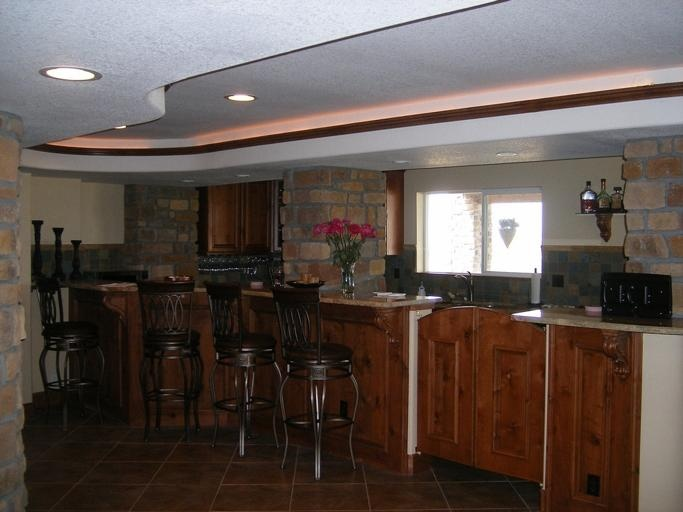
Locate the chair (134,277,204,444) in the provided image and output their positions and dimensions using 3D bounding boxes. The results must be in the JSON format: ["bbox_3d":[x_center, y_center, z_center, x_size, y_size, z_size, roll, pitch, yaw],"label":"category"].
[{"bbox_3d":[-1.467,0.862,5.000,0.533,1.378,0.800,-1,6,-15],"label":"chair"}]

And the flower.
[{"bbox_3d":[-0.079,-0.010,5.013,0.694,0.687,0.626,1,-1,-34],"label":"flower"}]

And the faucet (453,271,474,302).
[{"bbox_3d":[1.444,0.346,6.775,0.217,0.357,0.965,1,5,11],"label":"faucet"}]

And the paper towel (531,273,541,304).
[{"bbox_3d":[2.234,0.362,6.602,0.065,0.345,0.131,-2,6,-24],"label":"paper towel"}]

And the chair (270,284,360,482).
[{"bbox_3d":[-0.184,0.891,4.466,0.644,1.403,0.987,0,5,-2],"label":"chair"}]
